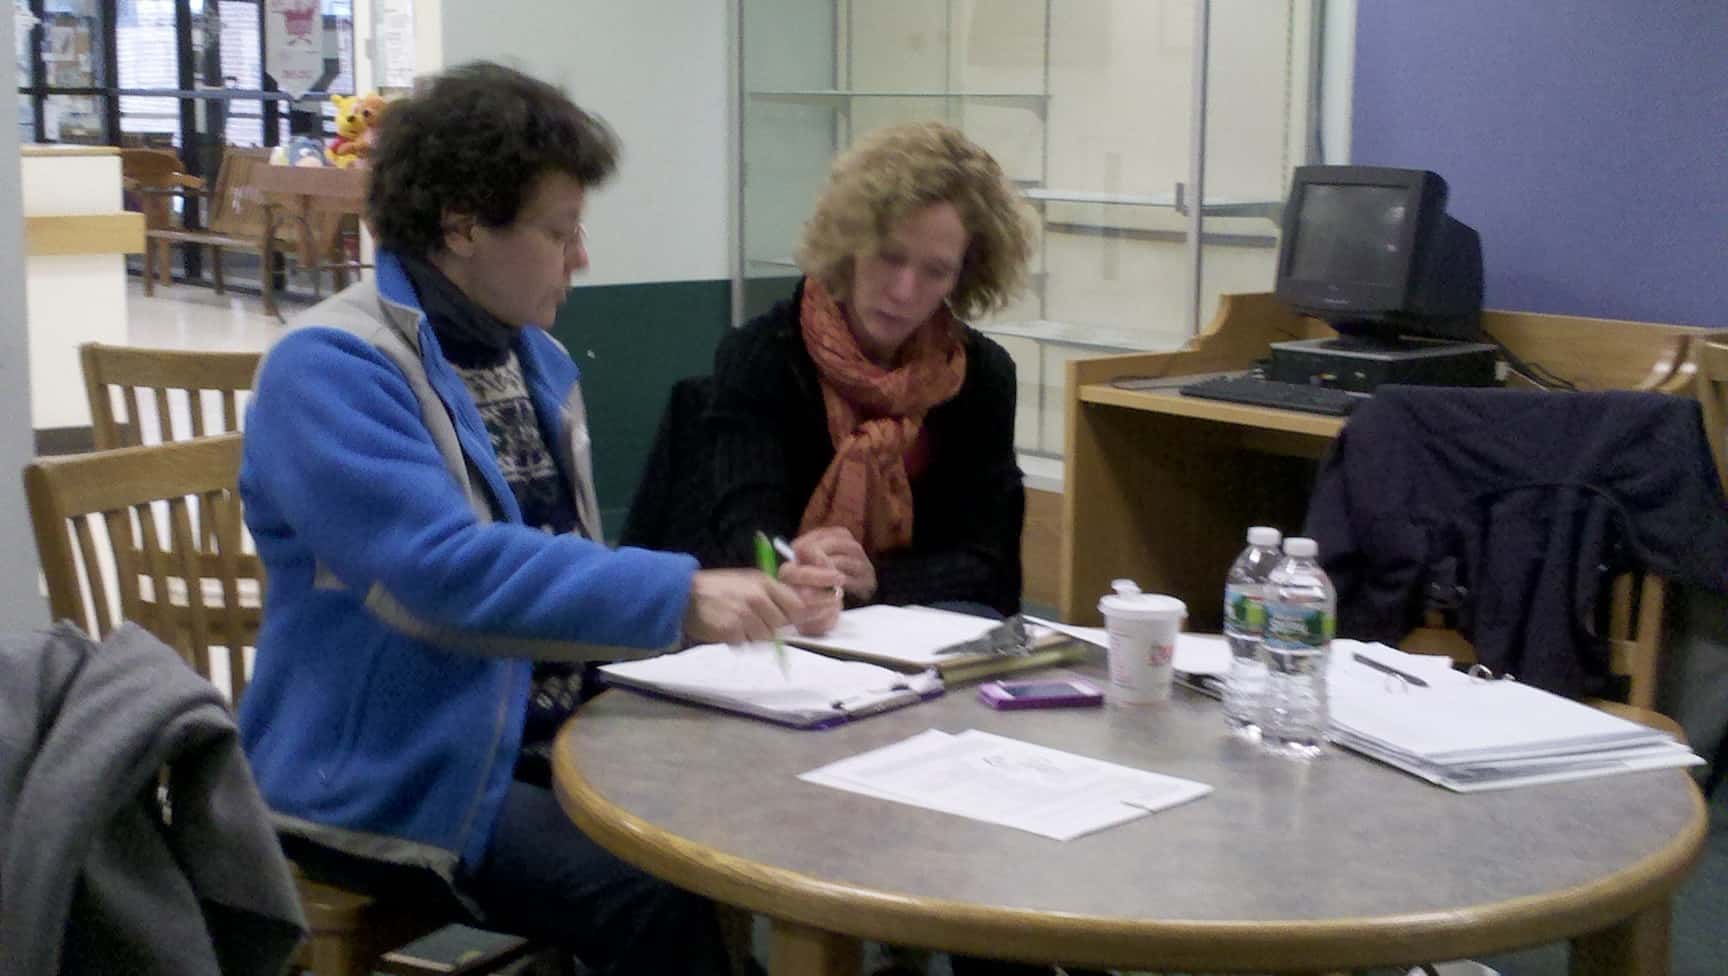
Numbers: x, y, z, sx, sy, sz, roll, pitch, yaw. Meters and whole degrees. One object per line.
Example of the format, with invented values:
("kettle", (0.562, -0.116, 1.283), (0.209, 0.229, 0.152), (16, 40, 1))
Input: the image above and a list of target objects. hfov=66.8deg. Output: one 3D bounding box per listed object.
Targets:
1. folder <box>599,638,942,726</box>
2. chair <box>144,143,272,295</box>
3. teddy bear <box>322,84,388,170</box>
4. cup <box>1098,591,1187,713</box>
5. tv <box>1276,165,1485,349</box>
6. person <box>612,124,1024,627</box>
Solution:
("folder", (-0.157, 0.323, 2.185), (0.269, 0.037, 0.250), (8, 11, 39))
("chair", (-5.004, -2.083, 10.006), (1.291, 0.921, 0.515), (9, 9, 42))
("teddy bear", (-2.284, -1.587, 5.867), (0.248, 0.344, 0.209), (-5, 19, -40))
("cup", (0.458, 0.265, 2.148), (0.177, 0.164, 0.168), (2, 5, 0))
("tv", (1.524, -0.669, 3.954), (0.555, 0.527, 0.558), (3, 7, 44))
("person", (-0.022, -0.247, 2.984), (0.920, 1.087, 0.819), (-6, 24, -34))
